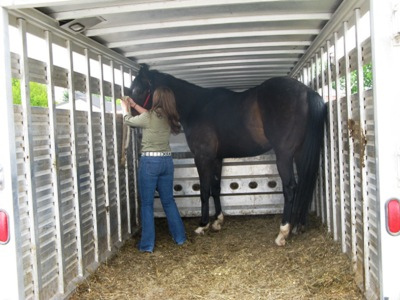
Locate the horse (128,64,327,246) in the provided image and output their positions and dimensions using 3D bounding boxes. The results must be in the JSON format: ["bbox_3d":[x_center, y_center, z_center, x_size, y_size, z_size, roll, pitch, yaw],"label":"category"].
[{"bbox_3d":[0.233,0.011,4.746,2.959,2.519,0.858,4,5,23],"label":"horse"}]

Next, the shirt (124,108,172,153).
[{"bbox_3d":[-0.668,-0.247,4.043,0.613,0.577,0.222,-4,4,-11],"label":"shirt"}]

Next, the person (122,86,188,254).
[{"bbox_3d":[-0.579,0.251,4.067,0.739,2.134,0.300,-4,4,-9],"label":"person"}]
